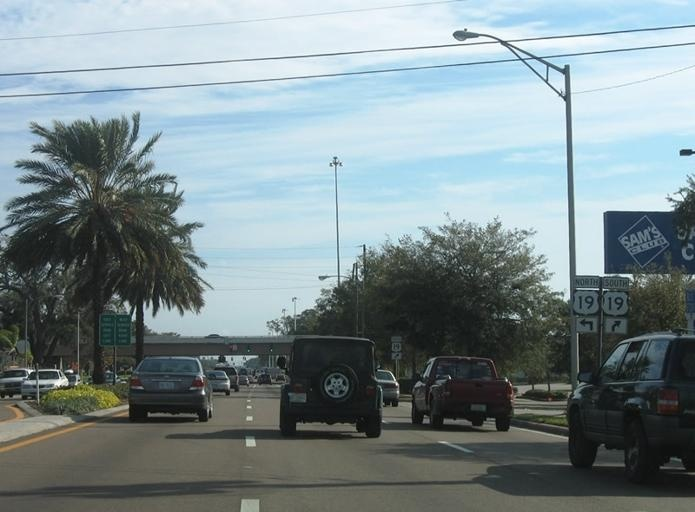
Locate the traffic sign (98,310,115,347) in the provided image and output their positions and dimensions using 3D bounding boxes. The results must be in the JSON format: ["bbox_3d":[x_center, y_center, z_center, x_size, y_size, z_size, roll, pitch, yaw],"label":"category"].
[{"bbox_3d":[-10.407,3.156,43.099,0.663,1.438,1.485,2,-10,-14],"label":"traffic sign"}]

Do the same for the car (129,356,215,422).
[{"bbox_3d":[-5.150,3.895,28.569,1.301,1.225,2.555,0,1,-4],"label":"car"}]

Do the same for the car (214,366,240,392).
[{"bbox_3d":[-7.340,7.643,62.645,0.940,1.101,2.263,0,0,-1],"label":"car"}]

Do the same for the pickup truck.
[{"bbox_3d":[3.144,4.104,29.518,1.517,1.484,3.088,3,-5,-10],"label":"pickup truck"}]

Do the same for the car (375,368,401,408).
[{"bbox_3d":[1.743,5.793,43.117,1.097,1.210,3.032,0,-1,0],"label":"car"}]

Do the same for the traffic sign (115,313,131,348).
[{"bbox_3d":[-9.648,3.167,43.012,0.506,1.346,0.965,-3,-9,19],"label":"traffic sign"}]
